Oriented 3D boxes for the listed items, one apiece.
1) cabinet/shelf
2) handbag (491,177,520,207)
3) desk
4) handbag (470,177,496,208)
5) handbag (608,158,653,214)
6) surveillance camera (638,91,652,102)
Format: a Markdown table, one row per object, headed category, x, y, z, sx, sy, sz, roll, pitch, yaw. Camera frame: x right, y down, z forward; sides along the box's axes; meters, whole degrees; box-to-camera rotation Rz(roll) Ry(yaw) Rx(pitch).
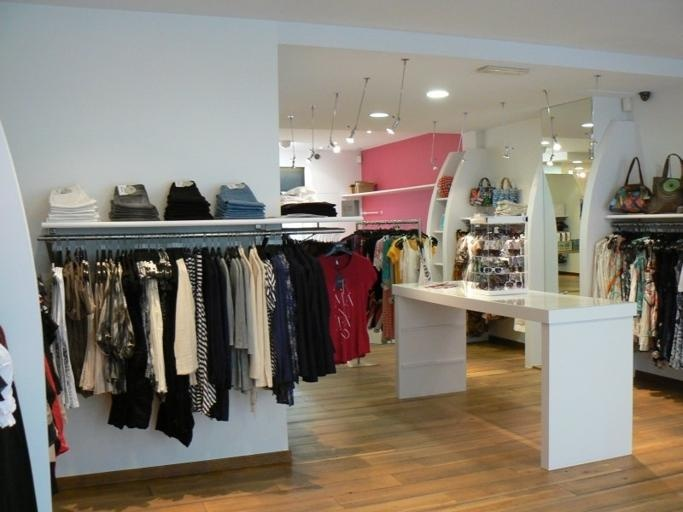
| category | x | y | z | sx | sy | sz | roll | pitch | yaw |
| --- | --- | --- | --- | --- | --- | --- | --- | --- | --- |
| cabinet/shelf | 1.508 | -0.561 | 7.483 | 0.748 | 1.770 | 0.598 | -5 | 6 | -39 |
| handbag | 2.118 | -0.824 | 7.036 | 0.411 | 0.450 | 0.166 | 1 | 5 | 35 |
| desk | 1.328 | 0.844 | 4.667 | 0.821 | 1.119 | 2.031 | -4 | 5 | -31 |
| handbag | 1.869 | -0.846 | 7.279 | 0.382 | 0.440 | 0.155 | 1 | -8 | 4 |
| handbag | 2.975 | -0.721 | 5.660 | 0.532 | 0.687 | 0.208 | 5 | -1 | 13 |
| surveillance camera | 3.173 | -1.672 | 5.715 | 0.115 | 0.094 | 0.115 | 1 | 5 | 26 |
